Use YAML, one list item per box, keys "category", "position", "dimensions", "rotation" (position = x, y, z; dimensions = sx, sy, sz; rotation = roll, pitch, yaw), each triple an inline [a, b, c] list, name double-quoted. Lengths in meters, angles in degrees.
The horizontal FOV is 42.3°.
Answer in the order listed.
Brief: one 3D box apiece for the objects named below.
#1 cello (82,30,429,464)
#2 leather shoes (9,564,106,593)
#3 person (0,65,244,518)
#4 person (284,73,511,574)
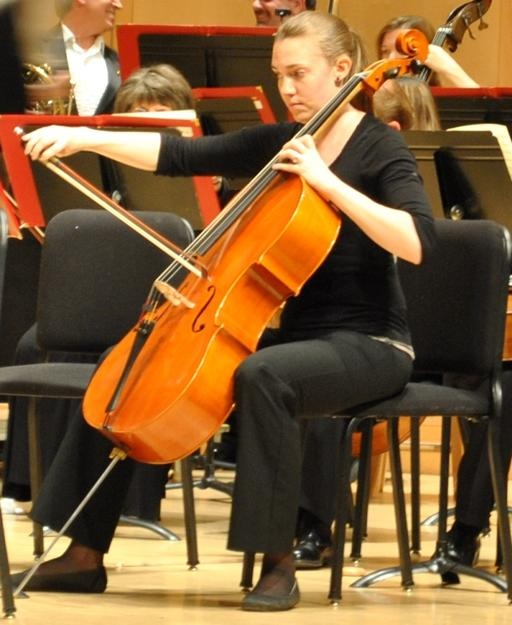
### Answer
- category: "cello"
  position: [-0.102, -0.027, 1.188]
  dimensions: [0.360, 0.579, 0.330]
  rotation: [10, -13, -31]
- category: "leather shoes"
  position: [-0.341, 0.484, 1.183]
  dimensions: [0.176, 0.056, 0.053]
  rotation: [7, -13, -7]
- category: "person"
  position: [-0.493, -0.167, 2.086]
  dimensions: [0.750, 1.508, 0.289]
  rotation: [4, -5, -17]
- category: "person"
  position: [0.522, -0.127, 1.865]
  dimensions: [0.697, 1.185, 0.242]
  rotation: [-1, 2, 25]
